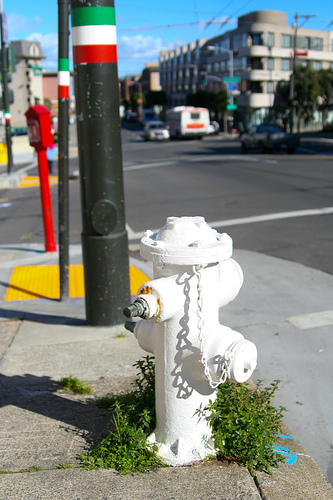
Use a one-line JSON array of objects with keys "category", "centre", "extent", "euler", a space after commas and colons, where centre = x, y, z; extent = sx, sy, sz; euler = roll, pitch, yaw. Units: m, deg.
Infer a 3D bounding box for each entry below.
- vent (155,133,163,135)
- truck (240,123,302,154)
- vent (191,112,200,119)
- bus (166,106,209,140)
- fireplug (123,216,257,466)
[{"category": "vent", "centre": [-0.635, -9.652, 46.517], "extent": [0.614, 0.161, 0.155], "euler": [-4, 9, 2]}, {"category": "truck", "centre": [5.277, -5.837, 29.177], "extent": [2.012, 1.422, 3.838], "euler": [-3, 11, -12]}, {"category": "vent", "centre": [2.346, -10.922, 45.417], "extent": [0.536, 0.334, 0.546], "euler": [3, 8, 14]}, {"category": "bus", "centre": [1.605, -11.232, 49.194], "extent": [2.583, 2.710, 6.935], "euler": [-4, 16, -10]}, {"category": "fireplug", "centre": [0.116, 0.462, 2.734], "extent": [0.615, 1.200, 0.475], "euler": [-5, 9, -6]}]
